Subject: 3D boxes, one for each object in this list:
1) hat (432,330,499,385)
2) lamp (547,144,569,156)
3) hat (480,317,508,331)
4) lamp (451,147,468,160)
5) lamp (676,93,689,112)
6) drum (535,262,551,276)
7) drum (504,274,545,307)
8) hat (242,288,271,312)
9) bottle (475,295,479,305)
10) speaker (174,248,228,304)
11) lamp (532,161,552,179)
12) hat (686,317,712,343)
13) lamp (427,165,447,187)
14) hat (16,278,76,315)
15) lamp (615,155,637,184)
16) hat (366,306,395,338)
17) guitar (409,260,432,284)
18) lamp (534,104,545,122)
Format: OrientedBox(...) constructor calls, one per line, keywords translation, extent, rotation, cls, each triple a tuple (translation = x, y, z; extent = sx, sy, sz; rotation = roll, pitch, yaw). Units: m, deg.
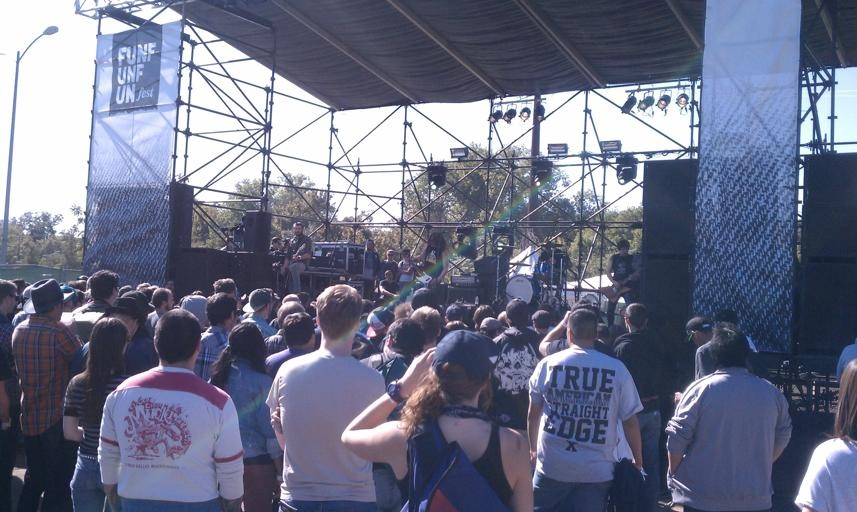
OrientedBox(translation=(0.470, 1.151, 11.848), extent=(0.498, 0.402, 0.683), rotation=(9, 26, 30), cls="hat")
OrientedBox(translation=(3.088, -2.552, 24.277), extent=(0.539, 0.367, 0.496), rotation=(-1, -5, 20), cls="lamp")
OrientedBox(translation=(0.974, 1.023, 14.784), extent=(0.223, 0.122, 0.331), rotation=(2, 4, 43), cls="hat")
OrientedBox(translation=(0.776, -2.544, 25.299), extent=(0.471, 0.348, 0.448), rotation=(0, -5, 12), cls="lamp")
OrientedBox(translation=(5.863, -3.540, 23.024), extent=(0.193, 0.429, 0.323), rotation=(2, -5, -12), cls="lamp")
OrientedBox(translation=(2.686, 0.274, 23.320), extent=(0.273, 0.318, 0.274), rotation=(2, -3, -18), cls="drum")
OrientedBox(translation=(2.062, 0.710, 22.213), extent=(0.729, 0.797, 0.716), rotation=(3, -4, 35), cls="drum")
OrientedBox(translation=(-2.479, 0.644, 14.544), extent=(0.389, 0.335, 0.270), rotation=(1, -5, 1), cls="hat")
OrientedBox(translation=(1.123, 0.960, 22.787), extent=(0.104, 0.109, 0.241), rotation=(9, 24, 2), cls="bottle")
OrientedBox(translation=(-4.768, 0.366, 20.767), extent=(0.932, 1.802, 0.957), rotation=(1, 5, 12), cls="speaker")
OrientedBox(translation=(2.792, -2.108, 24.595), extent=(0.513, 0.474, 0.353), rotation=(0, -5, 12), cls="lamp")
OrientedBox(translation=(3.974, 1.058, 14.442), extent=(0.319, 0.396, 0.377), rotation=(-11, 7, -34), cls="hat")
OrientedBox(translation=(0.283, -2.063, 25.884), extent=(0.518, 0.667, 0.536), rotation=(-1, -6, 8), cls="lamp")
OrientedBox(translation=(-5.364, 0.534, 14.087), extent=(0.693, 0.324, 0.829), rotation=(-11, 11, 12), cls="hat")
OrientedBox(translation=(4.648, -2.035, 23.590), extent=(0.449, 0.718, 0.569), rotation=(1, -5, 7), cls="lamp")
OrientedBox(translation=(-0.729, 0.954, 14.789), extent=(0.495, 0.322, 0.249), rotation=(-33, -59, 31), cls="hat")
OrientedBox(translation=(-0.139, 0.367, 23.072), extent=(0.400, 0.503, 0.502), rotation=(28, -24, -28), cls="guitar")
OrientedBox(translation=(2.705, -3.547, 24.638), extent=(0.238, 0.522, 0.301), rotation=(1, -4, 0), cls="lamp")
